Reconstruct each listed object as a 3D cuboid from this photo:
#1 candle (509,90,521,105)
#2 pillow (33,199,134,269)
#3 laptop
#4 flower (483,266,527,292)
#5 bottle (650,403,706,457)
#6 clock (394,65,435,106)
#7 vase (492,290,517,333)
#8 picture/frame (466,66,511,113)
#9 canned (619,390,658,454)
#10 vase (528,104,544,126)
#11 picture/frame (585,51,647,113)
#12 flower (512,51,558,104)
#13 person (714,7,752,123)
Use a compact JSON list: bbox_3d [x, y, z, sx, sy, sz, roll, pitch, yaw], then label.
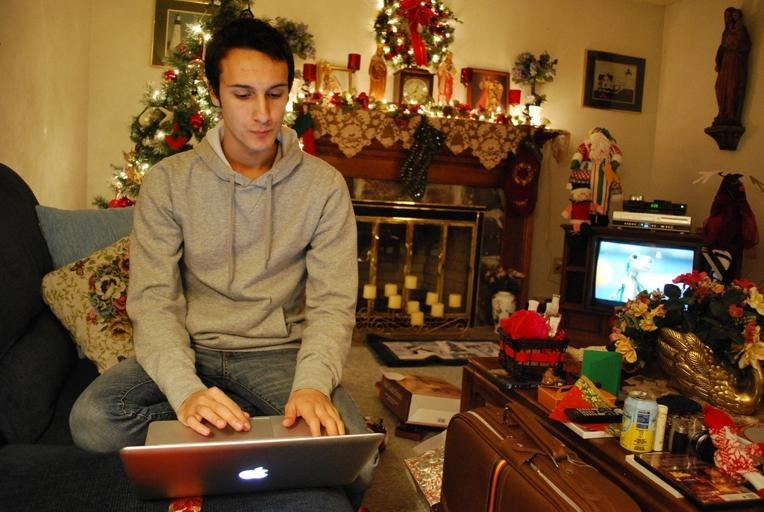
[{"bbox_3d":[1.072,-1.307,4.504,0.087,0.123,0.091,4,11,3],"label":"candle"},{"bbox_3d":[-1.158,-0.098,2.118,0.089,0.274,0.300,-22,-8,39],"label":"pillow"},{"bbox_3d":[-0.323,0.557,1.476,0.624,0.280,0.266,2,11,-6],"label":"laptop"},{"bbox_3d":[1.015,0.191,4.565,0.251,0.161,0.246,3,0,-26],"label":"flower"},{"bbox_3d":[0.871,0.506,1.659,0.131,0.170,0.149,0,-2,-24],"label":"bottle"},{"bbox_3d":[0.232,-1.298,4.206,0.291,0.286,0.221,3,11,-1],"label":"clock"},{"bbox_3d":[0.993,0.425,4.549,0.204,0.310,0.205,2,1,19],"label":"vase"},{"bbox_3d":[0.845,-1.351,4.489,0.439,0.414,0.028,8,-18,-18],"label":"picture/frame"},{"bbox_3d":[0.767,0.492,1.652,0.094,0.164,0.097,7,12,17],"label":"canned"},{"bbox_3d":[1.263,-1.168,4.582,0.125,0.194,0.313,6,11,13],"label":"vase"},{"bbox_3d":[2.025,-1.547,4.862,0.597,0.486,0.043,5,-2,-27],"label":"picture/frame"},{"bbox_3d":[1.292,-1.497,4.633,0.434,0.435,0.205,-2,12,-25],"label":"flower"},{"bbox_3d":[2.663,-1.444,4.205,0.237,0.860,0.149,9,13,27],"label":"person"}]
